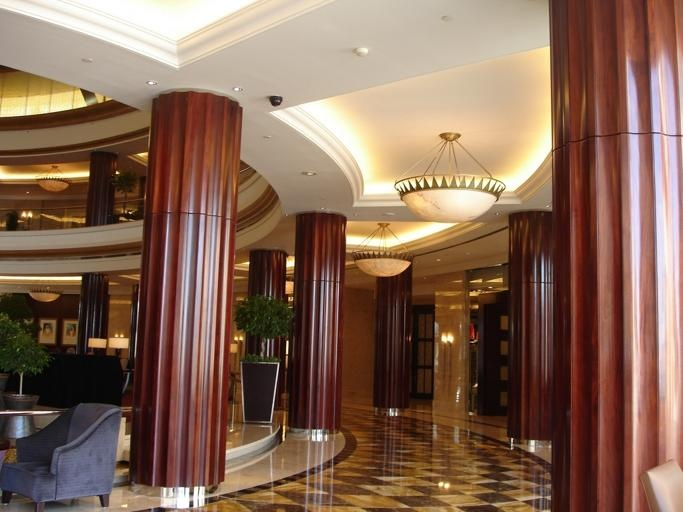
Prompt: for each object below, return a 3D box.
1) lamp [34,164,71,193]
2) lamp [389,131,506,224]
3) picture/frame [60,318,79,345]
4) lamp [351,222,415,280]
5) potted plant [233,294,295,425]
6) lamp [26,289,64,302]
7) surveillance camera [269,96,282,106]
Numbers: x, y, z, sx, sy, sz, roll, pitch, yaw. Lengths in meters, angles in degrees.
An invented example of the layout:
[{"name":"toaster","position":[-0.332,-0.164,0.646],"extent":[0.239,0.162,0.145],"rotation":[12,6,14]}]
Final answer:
[{"name":"lamp","position":[-11.076,-3.043,21.102],"extent":[1.412,1.096,1.513],"rotation":[3,-6,-17]},{"name":"lamp","position":[1.775,-1.310,8.948],"extent":[1.883,1.396,1.884],"rotation":[1,3,-26]},{"name":"picture/frame","position":[-13.444,3.698,27.063],"extent":[0.671,1.316,0.315],"rotation":[0,-6,-19]},{"name":"lamp","position":[1.074,-0.176,13.923],"extent":[1.687,1.239,1.575],"rotation":[0,-6,16]},{"name":"potted plant","position":[-1.909,2.432,13.076],"extent":[1.211,2.943,2.470],"rotation":[0,-6,-14]},{"name":"lamp","position":[-13.432,1.706,24.574],"extent":[1.088,0.421,1.090],"rotation":[-6,-13,29]},{"name":"surveillance camera","position":[-0.853,-2.015,7.135],"extent":[0.096,0.073,0.127],"rotation":[2,-13,-17]}]
